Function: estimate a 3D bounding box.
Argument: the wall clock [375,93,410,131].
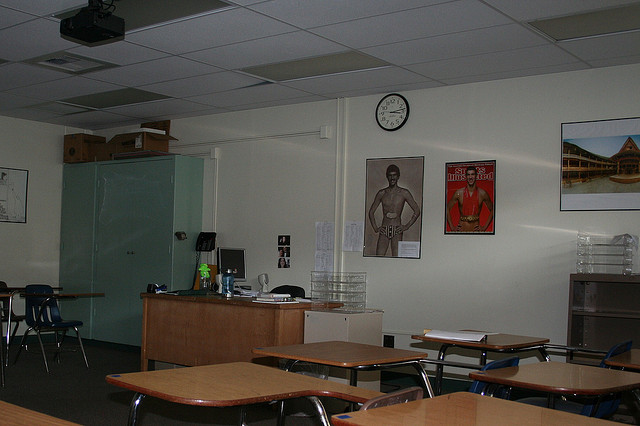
[{"bbox_3d":[1.058,-1.453,6.653,0.573,0.541,0.077,-6,-9,35],"label":"wall clock"}]

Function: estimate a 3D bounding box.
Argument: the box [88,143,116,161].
[{"bbox_3d":[-4.233,-1.175,8.961,0.449,0.383,0.233,1,0,37],"label":"box"}]

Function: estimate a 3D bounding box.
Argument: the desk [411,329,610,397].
[{"bbox_3d":[1.472,1.485,4.387,0.868,0.458,1.096,-6,2,-31],"label":"desk"}]

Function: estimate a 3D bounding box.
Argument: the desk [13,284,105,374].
[{"bbox_3d":[-4.174,1.785,7.268,1.320,1.206,1.397,0,-9,-18],"label":"desk"}]

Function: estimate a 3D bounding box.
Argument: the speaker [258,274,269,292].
[{"bbox_3d":[-0.787,0.967,6.353,0.115,0.240,0.334,1,-3,-9],"label":"speaker"}]

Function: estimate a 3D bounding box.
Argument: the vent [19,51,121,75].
[{"bbox_3d":[-3.284,-1.959,6.049,1.109,0.058,0.581,-1,-4,25],"label":"vent"}]

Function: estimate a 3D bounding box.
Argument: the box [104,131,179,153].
[{"bbox_3d":[-3.082,-1.289,8.407,0.740,0.237,0.584,-1,-2,39],"label":"box"}]

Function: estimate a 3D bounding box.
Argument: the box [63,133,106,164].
[{"bbox_3d":[-4.786,-1.279,9.392,0.697,0.527,0.706,4,4,42],"label":"box"}]
